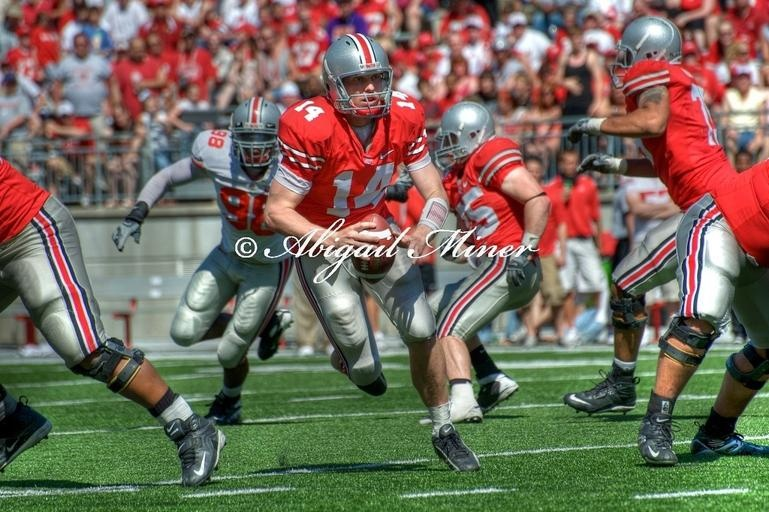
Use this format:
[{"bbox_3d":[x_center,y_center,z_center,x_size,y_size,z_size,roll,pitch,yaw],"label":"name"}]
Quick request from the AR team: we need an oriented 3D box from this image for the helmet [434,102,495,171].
[{"bbox_3d":[0.603,-0.877,8.079,0.453,0.451,0.404,-12,18,11],"label":"helmet"}]

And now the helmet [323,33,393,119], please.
[{"bbox_3d":[-0.193,-1.110,6.616,0.369,0.420,0.508,-10,36,-20],"label":"helmet"}]

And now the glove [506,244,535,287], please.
[{"bbox_3d":[0.970,0.057,7.658,0.115,0.171,0.463,3,24,12],"label":"glove"}]

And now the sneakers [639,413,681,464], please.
[{"bbox_3d":[1.610,1.071,6.313,0.136,0.201,0.387,0,7,-2],"label":"sneakers"}]

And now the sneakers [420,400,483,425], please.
[{"bbox_3d":[0.487,1.087,7.658,0.514,0.245,0.181,1,-1,-12],"label":"sneakers"}]

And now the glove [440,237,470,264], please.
[{"bbox_3d":[0.521,-0.037,7.951,0.207,0.168,0.100,7,44,48],"label":"glove"}]

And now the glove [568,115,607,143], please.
[{"bbox_3d":[1.333,-0.824,7.027,0.096,0.146,0.215,-9,-5,-21],"label":"glove"}]

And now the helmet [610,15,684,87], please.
[{"bbox_3d":[1.755,-1.357,7.239,0.448,0.444,0.449,3,19,12],"label":"helmet"}]

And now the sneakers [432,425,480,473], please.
[{"bbox_3d":[0.407,1.138,6.522,0.139,0.192,0.400,-33,40,-12],"label":"sneakers"}]
